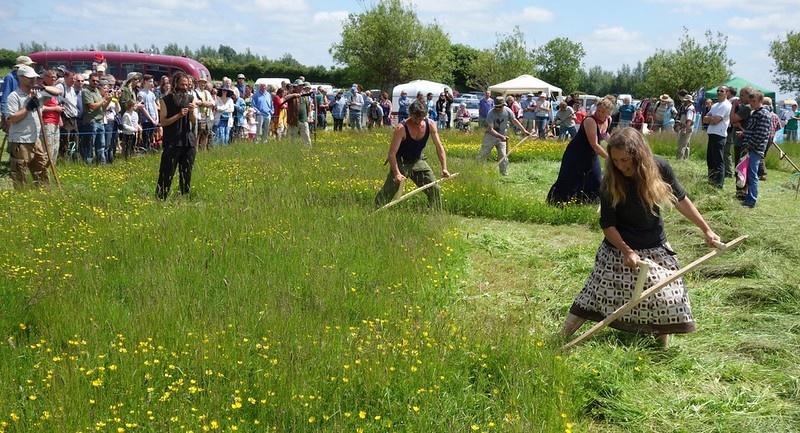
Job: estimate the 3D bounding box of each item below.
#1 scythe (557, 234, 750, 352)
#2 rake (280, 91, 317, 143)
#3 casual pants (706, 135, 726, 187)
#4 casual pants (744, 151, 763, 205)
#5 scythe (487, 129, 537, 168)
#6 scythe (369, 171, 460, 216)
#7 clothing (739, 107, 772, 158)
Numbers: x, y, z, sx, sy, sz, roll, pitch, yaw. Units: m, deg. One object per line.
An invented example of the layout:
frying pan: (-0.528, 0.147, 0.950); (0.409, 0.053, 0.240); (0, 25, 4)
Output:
scythe: (3.733, 1.303, 10.530); (2.050, 1.981, 3.034); (0, 0, -6)
rake: (-3.601, -3.629, 23.826); (1.263, 2.225, 0.853); (1, 2, -33)
casual pants: (8.900, -1.646, 18.906); (0.488, 1.494, 0.718); (-1, 13, 1)
casual pants: (8.764, -0.956, 16.727); (0.324, 1.320, 0.736); (8, 13, 26)
scythe: (3.362, -2.432, 20.581); (1.116, 1.781, 0.758); (1, 1, 44)
scythe: (0.400, -0.537, 14.462); (2.442, 1.345, 0.941); (1, 1, 23)
clothing: (9.141, -2.218, 17.293); (0.624, 1.294, 1.015); (4, 18, 2)
